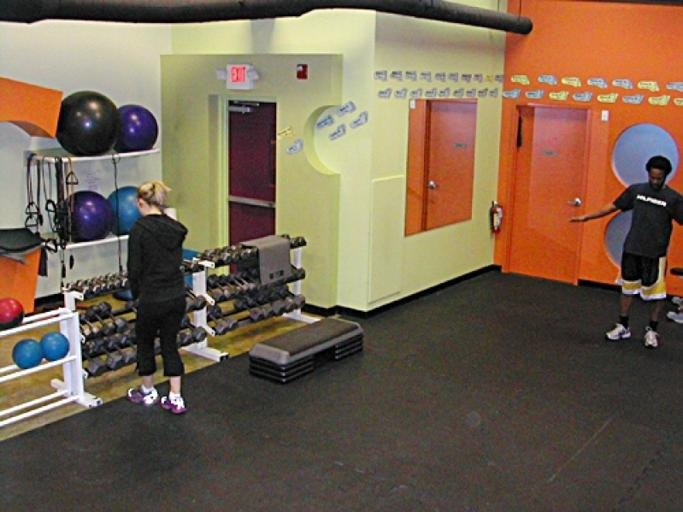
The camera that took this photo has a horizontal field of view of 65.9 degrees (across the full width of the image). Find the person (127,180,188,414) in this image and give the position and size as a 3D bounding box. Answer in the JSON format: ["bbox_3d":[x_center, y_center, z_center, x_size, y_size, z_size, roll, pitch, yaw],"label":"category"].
[{"bbox_3d":[-1.558,0.392,4.527,0.477,2.007,0.447,-6,15,-23],"label":"person"}]

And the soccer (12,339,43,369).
[{"bbox_3d":[-2.678,0.836,4.478,0.235,0.276,0.241,10,10,43],"label":"soccer"}]

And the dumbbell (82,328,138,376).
[{"bbox_3d":[-2.201,0.916,4.984,0.469,0.114,0.449,-17,42,-23],"label":"dumbbell"}]

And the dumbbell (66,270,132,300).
[{"bbox_3d":[-2.413,0.300,5.183,0.576,0.161,0.526,-9,18,-34],"label":"dumbbell"}]

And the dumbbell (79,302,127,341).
[{"bbox_3d":[-2.297,0.700,5.139,0.435,0.379,0.288,8,12,14],"label":"dumbbell"}]

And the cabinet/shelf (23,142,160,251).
[{"bbox_3d":[-3.317,-0.747,6.546,0.573,1.351,1.643,17,17,41],"label":"cabinet/shelf"}]

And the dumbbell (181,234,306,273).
[{"bbox_3d":[-1.024,-0.046,6.198,0.566,0.294,1.912,12,18,37],"label":"dumbbell"}]

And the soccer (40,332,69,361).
[{"bbox_3d":[-2.502,0.767,4.641,0.228,0.270,0.234,2,4,45],"label":"soccer"}]

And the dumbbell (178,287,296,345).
[{"bbox_3d":[-1.278,0.599,6.272,0.517,0.525,1.395,11,13,33],"label":"dumbbell"}]
